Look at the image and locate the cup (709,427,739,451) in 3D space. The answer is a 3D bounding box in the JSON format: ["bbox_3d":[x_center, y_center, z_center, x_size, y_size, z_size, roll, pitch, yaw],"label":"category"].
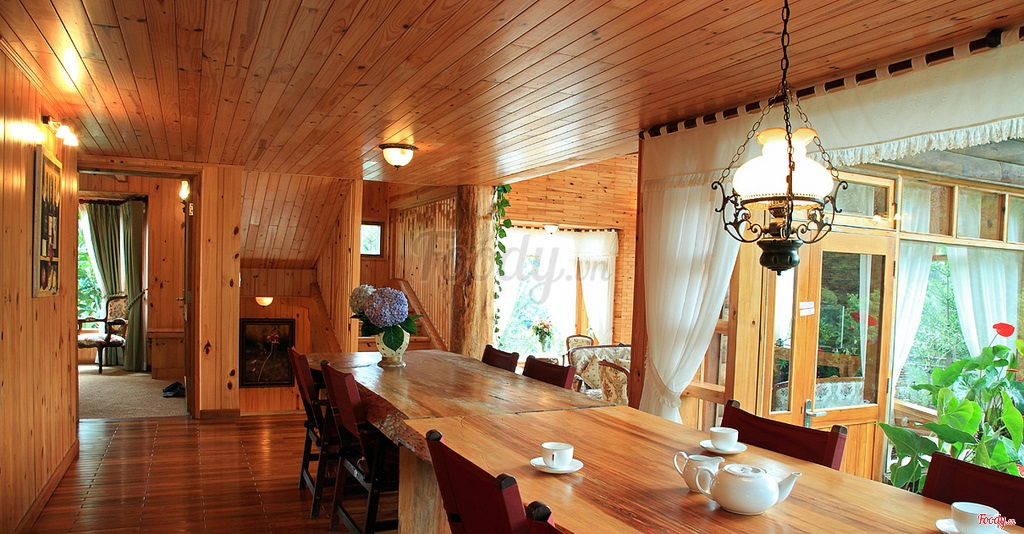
[{"bbox_3d":[1.451,1.177,4.352,0.168,0.113,0.169,0,-4,0],"label":"cup"}]

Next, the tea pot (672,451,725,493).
[{"bbox_3d":[1.147,1.277,4.047,0.321,0.200,0.176,4,-1,27],"label":"tea pot"}]

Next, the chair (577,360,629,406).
[{"bbox_3d":[1.243,1.463,8.173,0.752,0.827,0.707,1,0,9],"label":"chair"}]

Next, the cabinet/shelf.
[{"bbox_3d":[-3.772,0.285,8.029,0.683,3.115,0.618,-1,11,-11],"label":"cabinet/shelf"}]

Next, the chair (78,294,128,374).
[{"bbox_3d":[-7.021,1.068,10.862,0.795,1.032,0.820,6,5,13],"label":"chair"}]

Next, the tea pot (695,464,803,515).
[{"bbox_3d":[1.391,1.343,3.844,0.555,0.222,0.316,0,-5,6],"label":"tea pot"}]

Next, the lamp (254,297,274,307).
[{"bbox_3d":[-4.278,0.569,10.957,0.238,0.126,0.224,-2,-7,5],"label":"lamp"}]

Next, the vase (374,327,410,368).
[{"bbox_3d":[-1.177,0.782,6.043,0.352,0.322,0.323,-6,-12,-12],"label":"vase"}]

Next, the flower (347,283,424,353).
[{"bbox_3d":[-1.223,0.467,5.974,0.639,0.566,0.343,1,10,-2],"label":"flower"}]

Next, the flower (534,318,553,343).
[{"bbox_3d":[0.589,1.249,12.518,0.385,0.530,0.445,2,10,2],"label":"flower"}]

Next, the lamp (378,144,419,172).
[{"bbox_3d":[-1.269,-1.218,7.001,0.309,0.166,0.278,2,-8,-43],"label":"lamp"}]
